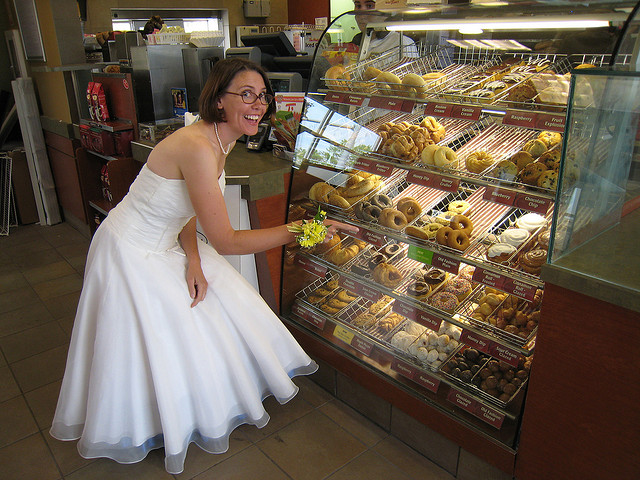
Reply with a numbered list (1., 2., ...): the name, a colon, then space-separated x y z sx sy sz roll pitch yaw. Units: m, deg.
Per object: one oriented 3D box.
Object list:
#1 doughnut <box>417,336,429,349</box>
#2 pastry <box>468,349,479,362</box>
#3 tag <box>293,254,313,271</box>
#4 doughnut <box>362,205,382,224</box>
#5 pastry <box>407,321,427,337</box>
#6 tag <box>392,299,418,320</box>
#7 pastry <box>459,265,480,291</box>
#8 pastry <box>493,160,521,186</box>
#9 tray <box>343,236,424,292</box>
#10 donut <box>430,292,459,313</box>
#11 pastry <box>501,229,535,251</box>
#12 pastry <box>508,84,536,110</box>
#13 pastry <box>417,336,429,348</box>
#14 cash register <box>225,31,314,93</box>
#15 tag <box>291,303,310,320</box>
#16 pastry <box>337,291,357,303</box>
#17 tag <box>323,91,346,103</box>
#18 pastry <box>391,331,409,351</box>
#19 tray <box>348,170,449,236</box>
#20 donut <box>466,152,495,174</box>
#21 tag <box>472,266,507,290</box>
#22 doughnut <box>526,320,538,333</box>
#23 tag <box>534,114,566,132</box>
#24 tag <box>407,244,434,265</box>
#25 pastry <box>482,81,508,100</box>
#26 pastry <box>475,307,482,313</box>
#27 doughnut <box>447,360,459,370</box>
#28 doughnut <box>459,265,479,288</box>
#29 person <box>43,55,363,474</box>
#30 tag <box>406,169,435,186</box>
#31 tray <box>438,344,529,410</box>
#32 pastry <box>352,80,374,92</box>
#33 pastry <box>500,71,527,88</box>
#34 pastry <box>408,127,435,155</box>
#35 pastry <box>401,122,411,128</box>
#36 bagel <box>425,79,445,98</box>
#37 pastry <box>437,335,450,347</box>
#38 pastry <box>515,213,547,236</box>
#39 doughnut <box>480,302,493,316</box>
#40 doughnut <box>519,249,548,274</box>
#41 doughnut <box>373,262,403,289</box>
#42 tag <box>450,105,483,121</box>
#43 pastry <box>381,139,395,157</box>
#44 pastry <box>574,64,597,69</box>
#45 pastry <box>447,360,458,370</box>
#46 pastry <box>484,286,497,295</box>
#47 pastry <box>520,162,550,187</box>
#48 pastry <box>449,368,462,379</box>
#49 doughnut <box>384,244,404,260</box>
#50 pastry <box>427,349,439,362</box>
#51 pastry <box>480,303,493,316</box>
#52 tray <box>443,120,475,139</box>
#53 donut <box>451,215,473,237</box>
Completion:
1. doughnut: 0.534 0.528 2.137 0.052 0.046 0.027 -3 -12 10
2. pastry: 0.747 0.562 2.017 0.047 0.045 0.054 -10 57 25
3. tag: -0.107 0.131 2.550 0.112 0.044 0.087 17 13 36
4. doughnut: 0.285 -0.148 2.260 0.105 0.086 0.044 21 33 34
5. pastry: 0.519 0.481 2.240 0.077 0.024 0.075 -26 33 -6
6. tag: 0.443 0.357 2.135 0.098 0.022 0.088 23 54 34
7. pastry: 0.761 0.179 2.105 0.120 0.040 0.110 -7 39 -2
8. pastry: 0.832 -0.311 1.839 0.109 0.074 0.085 12 28 21
9. tray: 0.345 0.133 2.306 0.336 0.066 0.327 27 62 37
10. donut: 0.616 0.298 2.036 0.102 0.035 0.094 2 29 10
11. pastry: 0.916 -0.011 1.909 0.114 0.032 0.106 -20 33 1
12. pastry: 0.857 -0.619 1.758 0.101 0.092 0.059 9 28 15
13. pastry: 0.534 0.528 2.137 0.050 0.045 0.026 -8 -4 2
14. cash register: -0.424 -1.543 3.597 0.853 0.489 0.592 23 44 37
15. tag: -0.112 0.449 2.652 0.119 0.060 0.090 27 13 37
16. pastry: 0.155 0.345 2.496 0.076 0.019 0.074 22 44 17
17. tag: 0.088 -0.791 2.294 0.150 0.072 0.033 18 4 33
18. pastry: 0.427 0.538 2.238 0.077 0.068 0.077 22 37 34
19. tray: 0.494 -0.255 2.267 0.279 0.081 0.494 30 56 30
20. donut: 0.757 -0.370 1.953 0.104 0.079 0.102 -5 27 -12
21. tag: 0.750 0.167 1.839 0.141 0.066 0.037 24 35 39
22. doughnut: 0.935 0.378 1.826 0.045 0.044 0.046 42 16 25
23. tag: 0.925 -0.476 1.654 0.156 0.087 0.006 13 -6 43
24. tag: 0.501 0.070 2.052 0.146 0.063 0.030 21 33 35
25. pastry: 0.785 -0.691 1.847 0.101 0.033 0.099 -36 51 2
26. pastry: 0.762 0.332 1.976 0.025 0.022 0.028 0 14 15
27. doughnut: 0.657 0.614 2.030 0.048 0.035 0.037 13 -13 30
28. doughnut: 0.764 0.175 2.105 0.108 0.038 0.100 -14 37 2
29. person: -0.726 0.174 2.021 1.277 1.960 0.813 -16 32 -30
30. tag: 0.490 -0.314 2.030 0.139 0.057 0.040 23 34 38
31. tray: 0.732 0.629 1.903 0.256 0.048 0.252 -32 38 -32
32. pastry: 0.234 -0.835 2.211 0.076 0.051 0.070 -9 24 -19
33. pastry: 0.858 -0.724 1.833 0.081 0.028 0.102 -32 37 -15
34. pastry: 0.523 -0.528 2.175 0.136 0.121 0.052 -1 -11 -5
35. pastry: 0.464 -0.625 2.221 0.034 0.011 0.034 12 27 -45
36. bagel: 0.559 -0.749 2.022 0.096 0.077 0.130 8 26 12
37. pastry: 0.628 0.510 2.098 0.066 0.054 0.053 -27 17 22
38. pastry: 0.995 -0.081 1.951 0.115 0.062 0.115 12 21 38
39. doughnut: 0.792 0.327 1.957 0.053 0.050 0.028 -18 -31 40
40. doughnut: 0.922 0.086 1.798 0.098 0.086 0.109 15 29 25
41. doughnut: 0.369 0.187 2.249 0.128 0.046 0.128 36 57 24
42. tag: 0.660 -0.582 1.860 0.100 0.053 0.007 12 -18 36
43. pastry: 0.363 -0.491 2.190 0.033 0.081 0.086 8 3 -27
44. pastry: 1.102 -0.725 1.721 0.081 0.020 0.078 10 27 30
45. pastry: 0.654 0.610 2.033 0.045 0.031 0.033 10 23 18
46. pastry: 0.837 0.246 2.034 0.047 0.010 0.042 -7 17 -28
47. pastry: 0.919 -0.289 1.768 0.036 0.100 0.107 21 -6 -37
48. pastry: 0.659 0.642 1.999 0.035 0.032 0.043 14 46 19
49. doughnut: 0.419 0.061 2.321 0.091 0.070 0.034 34 -4 46
50. pastry: 0.571 0.585 2.085 0.057 0.032 0.043 -50 43 -8
51. pastry: 0.794 0.328 1.959 0.052 0.026 0.048 -21 55 29
52. tray: 0.726 -0.598 2.179 0.109 0.027 0.101 -22 13 42
53. donut: 0.695 -0.075 2.020 0.101 0.091 0.034 -16 -10 -8
